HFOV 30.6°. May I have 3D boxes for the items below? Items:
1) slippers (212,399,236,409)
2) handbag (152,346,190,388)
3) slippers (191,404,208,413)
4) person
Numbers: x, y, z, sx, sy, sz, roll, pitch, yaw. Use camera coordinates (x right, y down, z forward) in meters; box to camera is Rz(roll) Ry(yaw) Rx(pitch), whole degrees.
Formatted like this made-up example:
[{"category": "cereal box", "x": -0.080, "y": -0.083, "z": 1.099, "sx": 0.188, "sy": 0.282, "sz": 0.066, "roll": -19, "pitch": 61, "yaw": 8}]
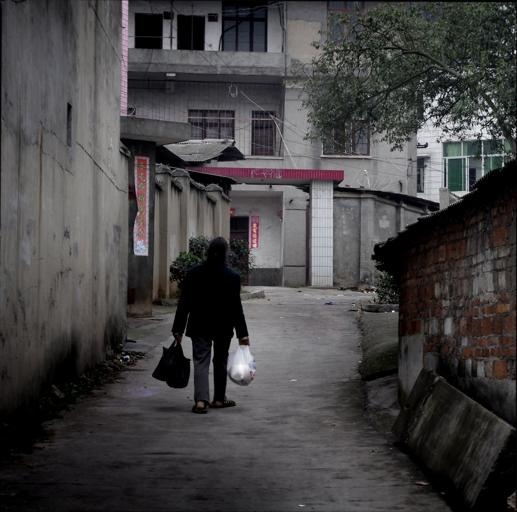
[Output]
[{"category": "slippers", "x": -0.365, "y": 1.574, "z": 10.095, "sx": 0.248, "sy": 0.136, "sz": 0.102, "roll": -2, "pitch": 1, "yaw": -23}, {"category": "handbag", "x": -0.958, "y": 1.234, "z": 10.340, "sx": 0.350, "sy": 0.577, "sz": 0.264, "roll": 14, "pitch": 12, "yaw": 14}, {"category": "slippers", "x": -0.597, "y": 1.562, "z": 9.740, "sx": 0.166, "sy": 0.085, "sz": 0.216, "roll": 1, "pitch": 3, "yaw": -3}, {"category": "person", "x": -0.517, "y": 0.711, "z": 9.971, "sx": 0.796, "sy": 1.791, "sz": 0.559, "roll": -1, "pitch": 3, "yaw": -31}]
